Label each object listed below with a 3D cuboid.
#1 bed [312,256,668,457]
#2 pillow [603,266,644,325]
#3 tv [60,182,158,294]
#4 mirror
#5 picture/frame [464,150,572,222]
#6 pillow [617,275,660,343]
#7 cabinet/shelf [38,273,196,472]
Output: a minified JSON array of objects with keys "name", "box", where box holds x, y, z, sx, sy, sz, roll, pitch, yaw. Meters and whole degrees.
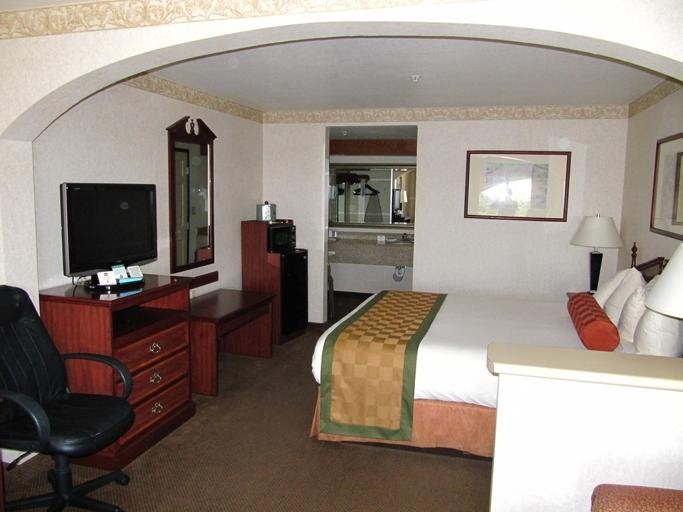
[{"name":"bed","box":[1.078,0.832,4.341,1.910,0.929,1.950,2,7,17]},{"name":"pillow","box":[2.383,0.336,4.480,0.119,0.403,0.416,27,-2,12]},{"name":"tv","box":[-1.928,-0.142,4.312,0.274,0.847,0.840,3,7,20]},{"name":"mirror","box":[-1.637,-0.667,5.728,0.215,1.626,0.891,4,13,11]},{"name":"picture/frame","box":[2.224,-0.875,6.468,0.843,0.637,0.035,2,4,12]},{"name":"pillow","box":[2.369,0.431,4.081,0.180,0.433,0.496,14,20,14]},{"name":"cabinet/shelf","box":[-1.724,0.889,3.978,0.763,1.528,1.280,0,7,11]}]
